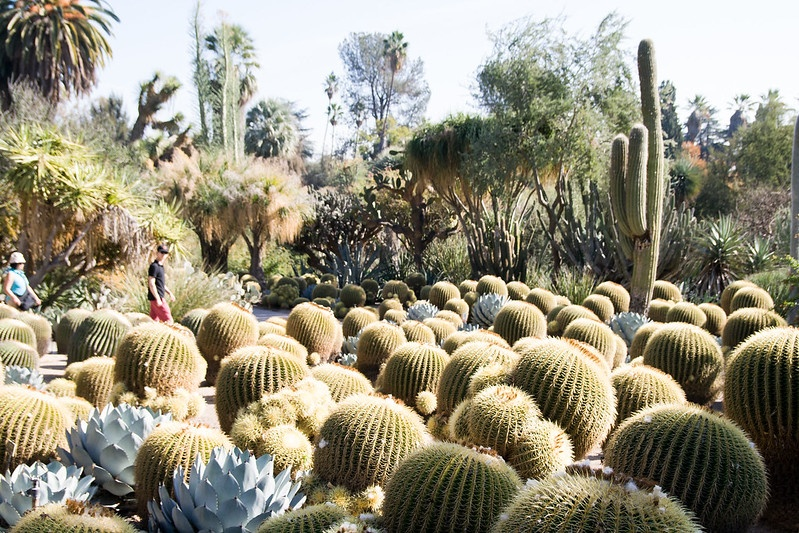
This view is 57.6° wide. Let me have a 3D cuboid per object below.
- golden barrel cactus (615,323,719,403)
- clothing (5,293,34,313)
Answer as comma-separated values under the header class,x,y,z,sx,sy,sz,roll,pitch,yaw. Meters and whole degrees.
class,x,y,z,sx,sy,sz,roll,pitch,yaw
golden barrel cactus,3.474,1.105,9.041,0.832,1.006,0.918,-1,1,11
clothing,-6.101,0.562,11.650,0.182,0.203,0.325,18,7,1
